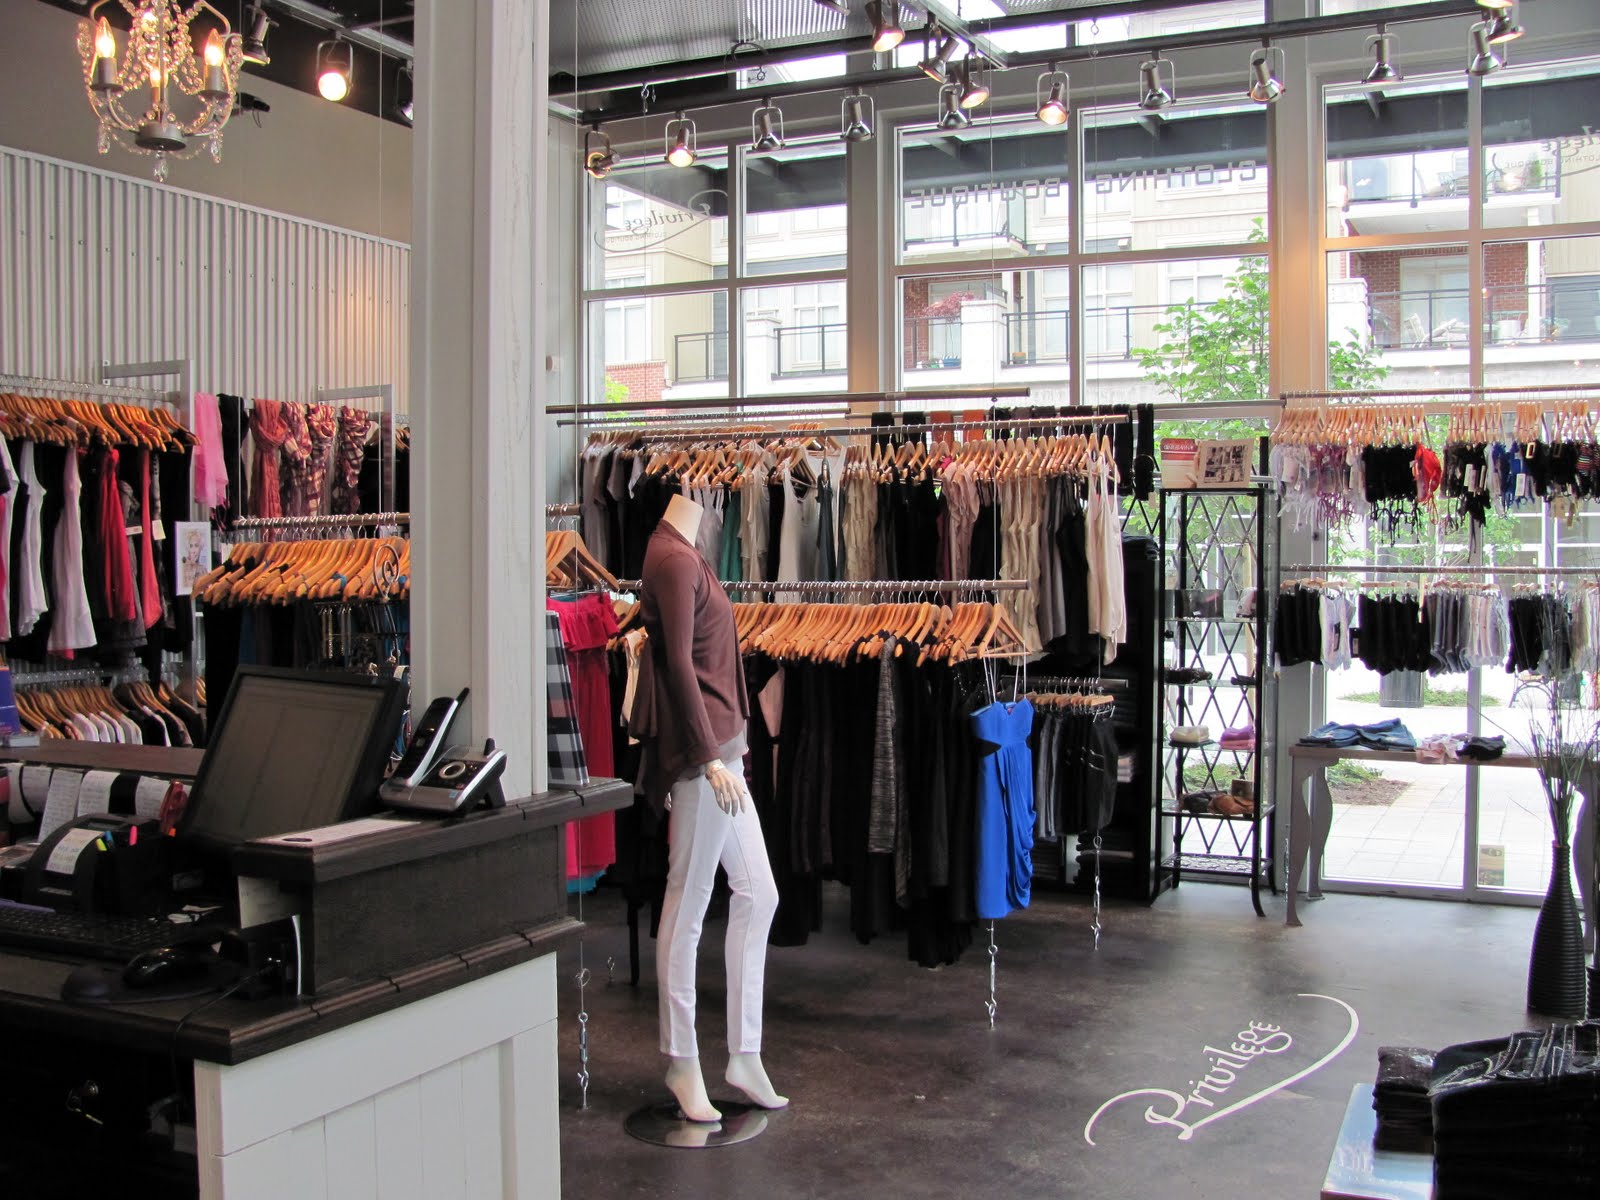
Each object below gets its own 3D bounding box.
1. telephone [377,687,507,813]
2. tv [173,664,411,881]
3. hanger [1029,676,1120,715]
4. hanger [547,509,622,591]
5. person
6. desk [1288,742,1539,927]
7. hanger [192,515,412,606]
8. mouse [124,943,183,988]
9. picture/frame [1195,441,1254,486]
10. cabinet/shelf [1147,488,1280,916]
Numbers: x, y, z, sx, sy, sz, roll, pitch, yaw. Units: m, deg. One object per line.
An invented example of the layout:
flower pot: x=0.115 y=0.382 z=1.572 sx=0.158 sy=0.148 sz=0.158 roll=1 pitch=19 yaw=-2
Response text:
telephone: x=-0.849 y=0.357 z=3.283 sx=0.245 sy=0.331 sz=0.223 roll=1 pitch=-12 yaw=12
tv: x=-1.233 y=0.414 z=3.331 sx=0.610 sy=0.474 sz=0.213 roll=3 pitch=5 yaw=33
hanger: x=1.421 y=0.502 z=7.220 sx=0.340 sy=0.122 sz=0.274 roll=0 pitch=1 yaw=11
hanger: x=-0.951 y=-0.166 z=6.114 sx=0.322 sy=0.265 sz=0.351 roll=-1 pitch=4 yaw=-8
person: x=-0.307 y=0.751 z=4.828 sx=0.437 sy=2.214 sz=0.532 roll=1 pitch=4 yaw=17
desk: x=3.418 y=1.267 z=7.543 sx=1.336 sy=0.973 sz=0.803 roll=-2 pitch=0 yaw=30
hanger: x=-2.111 y=-0.158 z=5.859 sx=0.587 sy=0.231 sz=0.419 roll=-1 pitch=0 yaw=23
mouse: x=-1.336 y=0.760 z=2.851 sx=0.049 sy=0.030 sz=0.098 roll=6 pitch=8 yaw=-4
picture/frame: x=2.374 y=-0.753 z=7.664 sx=0.229 sy=0.236 sz=0.037 roll=-1 pitch=-6 yaw=26
cabinet/shelf: x=2.414 y=0.533 z=7.989 sx=0.640 sy=2.369 sz=1.013 roll=1 pitch=4 yaw=18
